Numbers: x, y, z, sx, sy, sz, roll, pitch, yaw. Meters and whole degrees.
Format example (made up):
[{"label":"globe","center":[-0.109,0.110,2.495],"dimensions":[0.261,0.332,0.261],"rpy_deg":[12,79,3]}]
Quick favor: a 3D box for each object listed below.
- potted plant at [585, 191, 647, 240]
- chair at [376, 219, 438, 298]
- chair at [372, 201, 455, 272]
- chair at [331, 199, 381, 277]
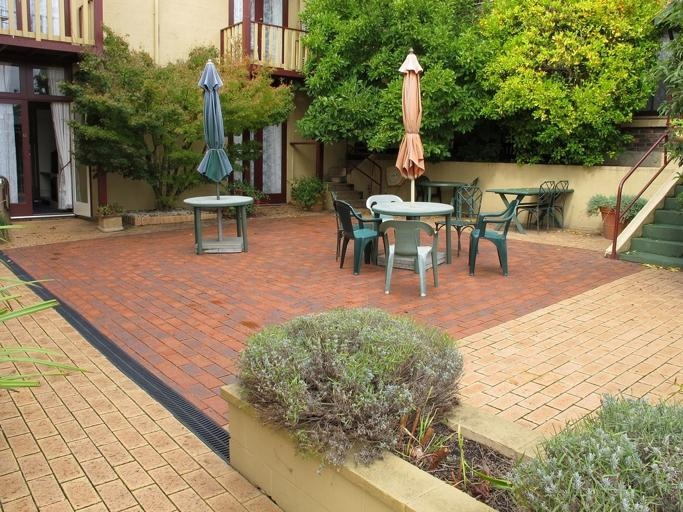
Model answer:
[{"label":"potted plant","center":[5.514,-0.835,10.254],"dimensions":[1.040,0.743,0.957],"rpy_deg":[0,11,1]},{"label":"chair","center":[0.886,-0.053,6.794],"dimensions":[0.831,0.993,0.813],"rpy_deg":[-12,17,-42]},{"label":"chair","center":[1.188,-0.408,7.713],"dimensions":[1.132,0.804,1.117],"rpy_deg":[-11,15,-43]},{"label":"chair","center":[0.279,-0.315,7.651],"dimensions":[0.735,0.970,0.699],"rpy_deg":[-8,14,-25]}]
